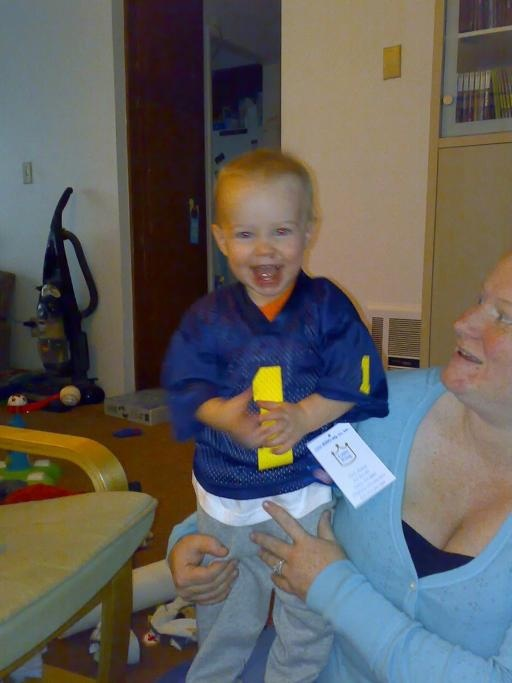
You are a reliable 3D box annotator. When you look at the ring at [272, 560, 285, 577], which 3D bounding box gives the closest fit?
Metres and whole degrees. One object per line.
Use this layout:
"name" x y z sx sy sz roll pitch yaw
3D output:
"ring" 0.033 0.349 0.872 0.009 0.023 0.018 7 15 -10
